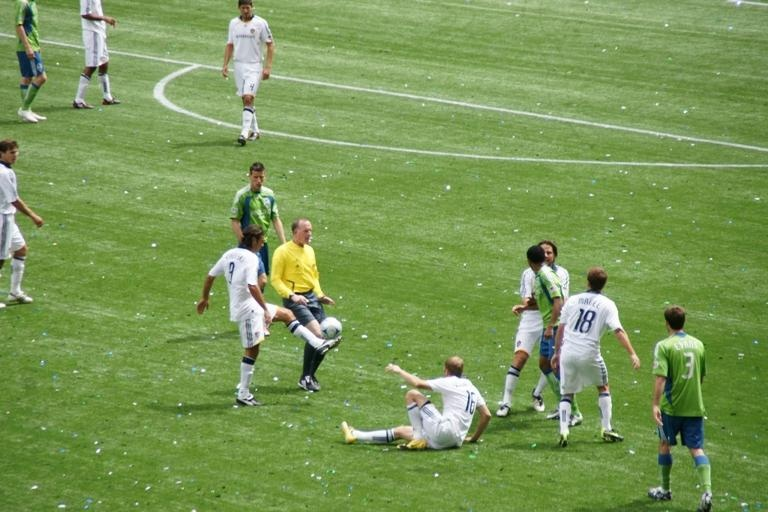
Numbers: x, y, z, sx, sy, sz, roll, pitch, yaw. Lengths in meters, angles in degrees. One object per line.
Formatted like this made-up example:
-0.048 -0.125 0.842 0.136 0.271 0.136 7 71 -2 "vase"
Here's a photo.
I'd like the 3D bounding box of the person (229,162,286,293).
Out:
-2.775 -0.687 39.921 1.092 2.668 1.381 3 -1 0 "person"
